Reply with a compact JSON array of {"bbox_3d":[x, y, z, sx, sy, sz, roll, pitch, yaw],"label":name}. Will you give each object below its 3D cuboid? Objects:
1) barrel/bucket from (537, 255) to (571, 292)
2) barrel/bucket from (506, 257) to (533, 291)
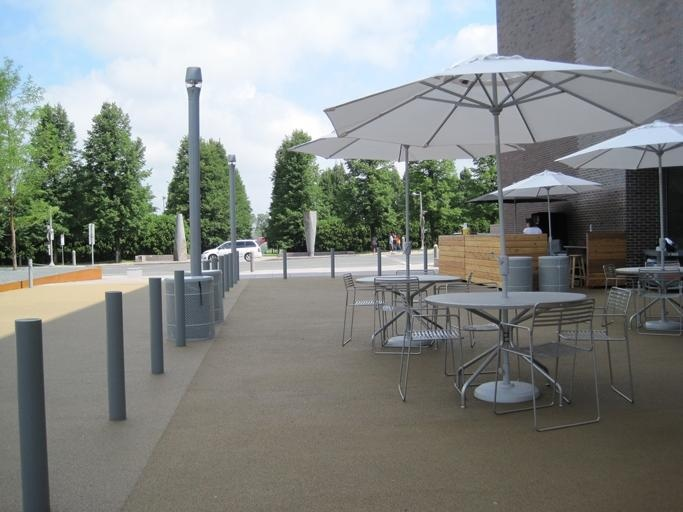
[{"bbox_3d":[5.380,0.400,15.685,0.909,1.098,0.932,0,1,0],"label":"barrel/bucket"},{"bbox_3d":[4.077,0.406,14.123,0.720,0.900,0.760,0,2,0],"label":"barrel/bucket"}]
